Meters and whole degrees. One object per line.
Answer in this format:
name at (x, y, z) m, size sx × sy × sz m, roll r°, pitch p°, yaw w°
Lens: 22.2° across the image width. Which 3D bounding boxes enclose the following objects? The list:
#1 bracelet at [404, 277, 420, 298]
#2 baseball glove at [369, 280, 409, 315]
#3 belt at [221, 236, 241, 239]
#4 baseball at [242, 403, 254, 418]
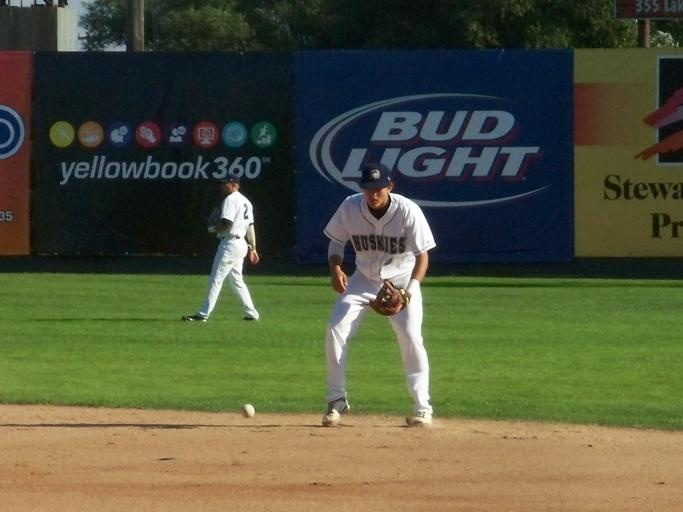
bracelet at (1.300, 0.647, 32.709) m, size 0.285 × 0.308 × 0.261 m, roll 1°, pitch 9°, yaw 6°
baseball glove at (0.890, 0.853, 32.749) m, size 0.713 × 0.638 × 0.314 m, roll 2°, pitch 4°, yaw -3°
belt at (-2.410, -0.300, 37.932) m, size 0.364 × 0.081 × 0.087 m, roll 1°, pitch 4°, yaw -16°
baseball at (-1.803, 2.959, 33.499) m, size 0.258 × 0.224 × 0.217 m, roll -20°, pitch -23°, yaw 38°
